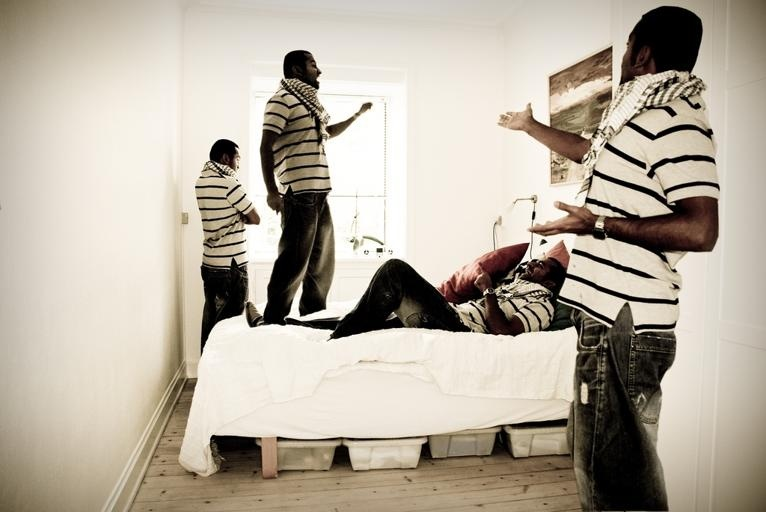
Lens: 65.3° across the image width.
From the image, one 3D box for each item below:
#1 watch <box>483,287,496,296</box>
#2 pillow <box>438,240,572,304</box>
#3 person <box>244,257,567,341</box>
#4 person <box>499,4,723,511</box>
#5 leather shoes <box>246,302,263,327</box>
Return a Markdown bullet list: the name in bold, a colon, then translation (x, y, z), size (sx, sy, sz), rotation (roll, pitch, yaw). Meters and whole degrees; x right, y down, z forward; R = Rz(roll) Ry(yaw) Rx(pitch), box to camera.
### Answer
- **watch**: translation (0.625, 0.216, 3.529), size (0.075, 0.073, 0.050), rotation (-3, 48, 0)
- **pillow**: translation (0.750, 0.070, 3.959), size (0.547, 0.167, 0.547), rotation (-30, 2, -40)
- **person**: translation (0.187, 0.303, 3.652), size (1.694, 0.644, 0.725), rotation (1, -4, -2)
- **person**: translation (0.970, 0.038, 2.343), size (0.537, 1.945, 0.489), rotation (8, 15, 29)
- **leather shoes**: translation (-0.777, 0.361, 3.659), size (0.070, 0.083, 0.206), rotation (-2, 25, -17)
